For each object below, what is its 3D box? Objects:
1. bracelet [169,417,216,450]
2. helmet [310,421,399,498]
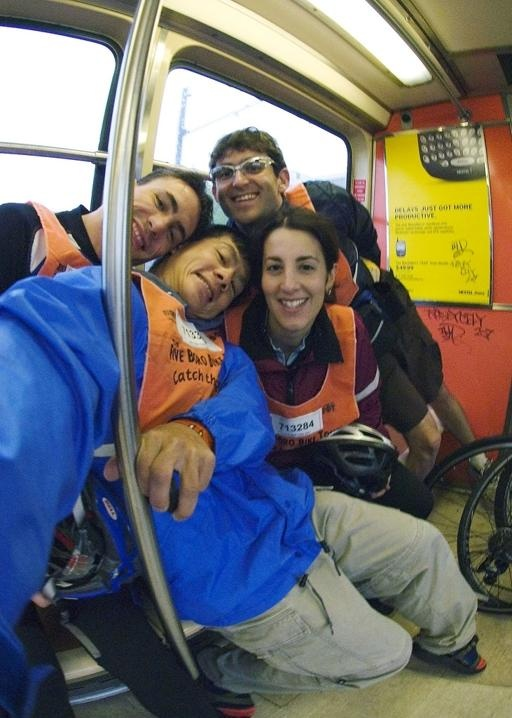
[{"bbox_3d":[-0.086,0.104,0.768,0.039,0.020,0.053,38,8,31],"label":"bracelet"},{"bbox_3d":[0.158,0.191,1.061,0.114,0.110,0.153,-14,-7,-45],"label":"helmet"}]
